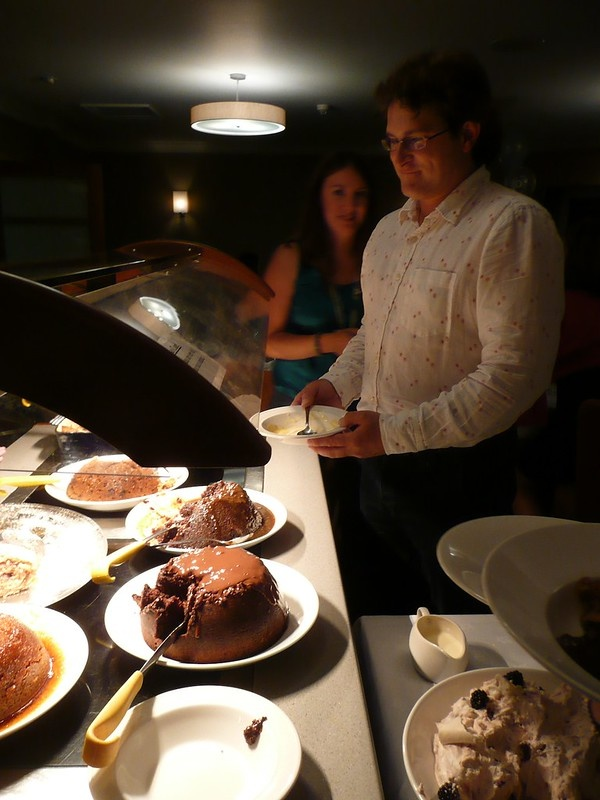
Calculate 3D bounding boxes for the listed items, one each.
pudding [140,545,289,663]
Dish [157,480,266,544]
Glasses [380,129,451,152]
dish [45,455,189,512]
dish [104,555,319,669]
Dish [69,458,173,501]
[{"bbox_3d":[-0.103,0.234,0.752,0.167,0.074,0.162,8,19,17],"label":"pudding"},{"bbox_3d":[-0.159,0.188,0.986,0.167,0.055,0.112,-8,24,-5],"label":"Dish"},{"bbox_3d":[0.207,-0.470,1.123,0.115,0.038,0.027,2,10,40],"label":"Glasses"},{"bbox_3d":[-0.272,0.123,0.888,0.141,0.038,0.129,2,10,5],"label":"dish"},{"bbox_3d":[-0.112,0.207,0.732,0.162,0.025,0.156,9,18,22],"label":"dish"},{"bbox_3d":[-0.269,0.112,0.969,0.121,0.033,0.117,3,8,15],"label":"Dish"}]
